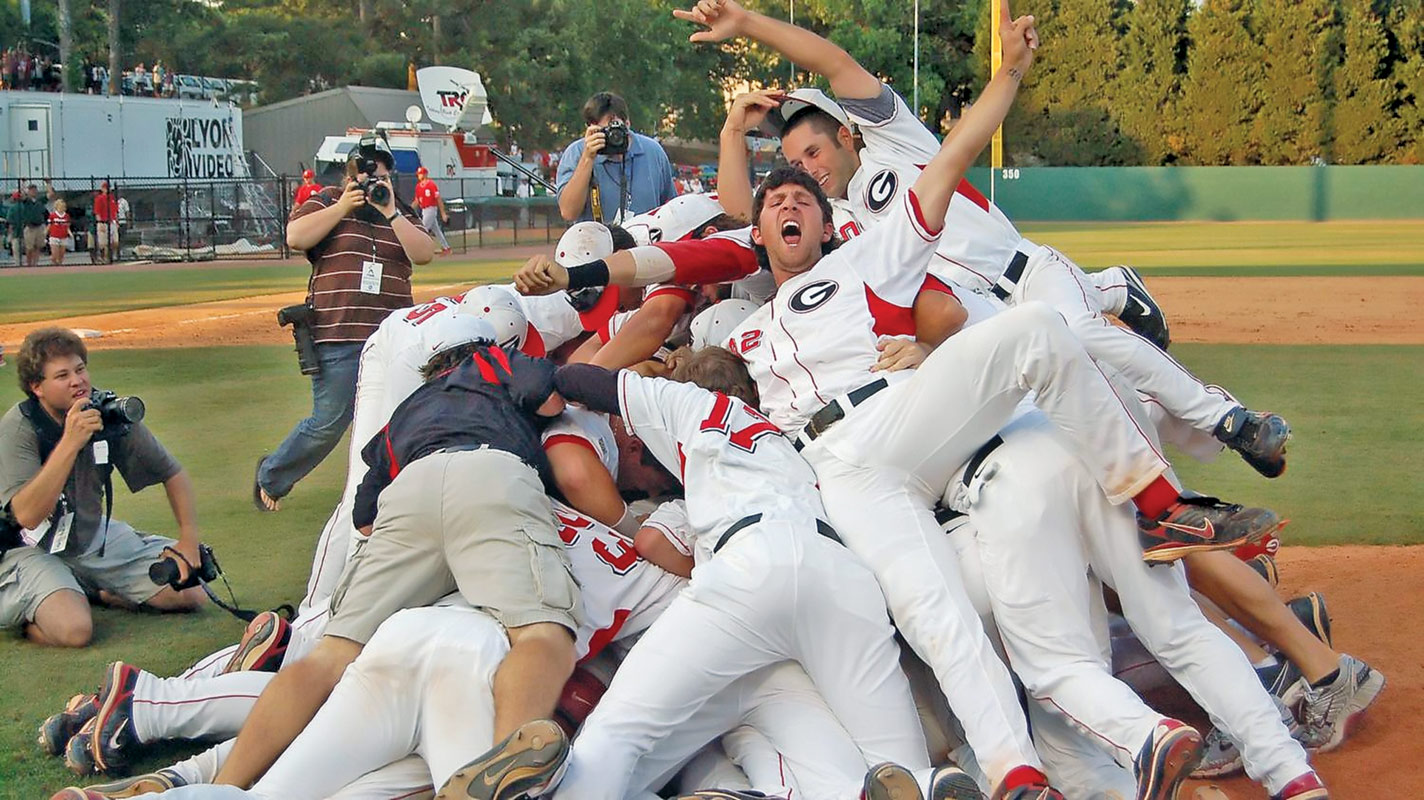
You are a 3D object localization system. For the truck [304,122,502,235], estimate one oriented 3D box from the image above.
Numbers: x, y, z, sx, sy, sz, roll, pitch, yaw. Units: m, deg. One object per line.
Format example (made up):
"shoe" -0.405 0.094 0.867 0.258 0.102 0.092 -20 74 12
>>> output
"truck" -9.601 -6.748 39.695 3.545 3.342 6.625 2 10 23

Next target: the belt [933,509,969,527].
"belt" 1.569 0.771 8.489 0.211 0.098 0.081 8 17 37

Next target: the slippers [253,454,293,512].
"slippers" -4.061 0.736 11.714 0.304 0.513 0.215 -1 22 -19

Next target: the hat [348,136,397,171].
"hat" -3.140 -2.280 11.741 0.321 0.379 0.350 0 43 -12

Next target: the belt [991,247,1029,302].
"belt" 2.297 -0.969 9.854 0.142 0.382 0.222 34 -9 -4

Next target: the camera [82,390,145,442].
"camera" -4.681 0.111 10.022 0.448 0.255 0.394 -6 -7 19

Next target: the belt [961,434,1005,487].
"belt" 1.743 0.384 8.382 0.122 0.329 0.243 39 0 -30

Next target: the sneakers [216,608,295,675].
"sneakers" -3.098 1.650 8.755 0.227 0.611 0.248 33 14 -37

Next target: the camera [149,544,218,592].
"camera" -4.062 1.331 9.875 0.420 0.377 0.407 1 -9 30

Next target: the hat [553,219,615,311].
"hat" -0.978 -1.032 9.687 0.474 0.619 0.541 4 -2 -13
